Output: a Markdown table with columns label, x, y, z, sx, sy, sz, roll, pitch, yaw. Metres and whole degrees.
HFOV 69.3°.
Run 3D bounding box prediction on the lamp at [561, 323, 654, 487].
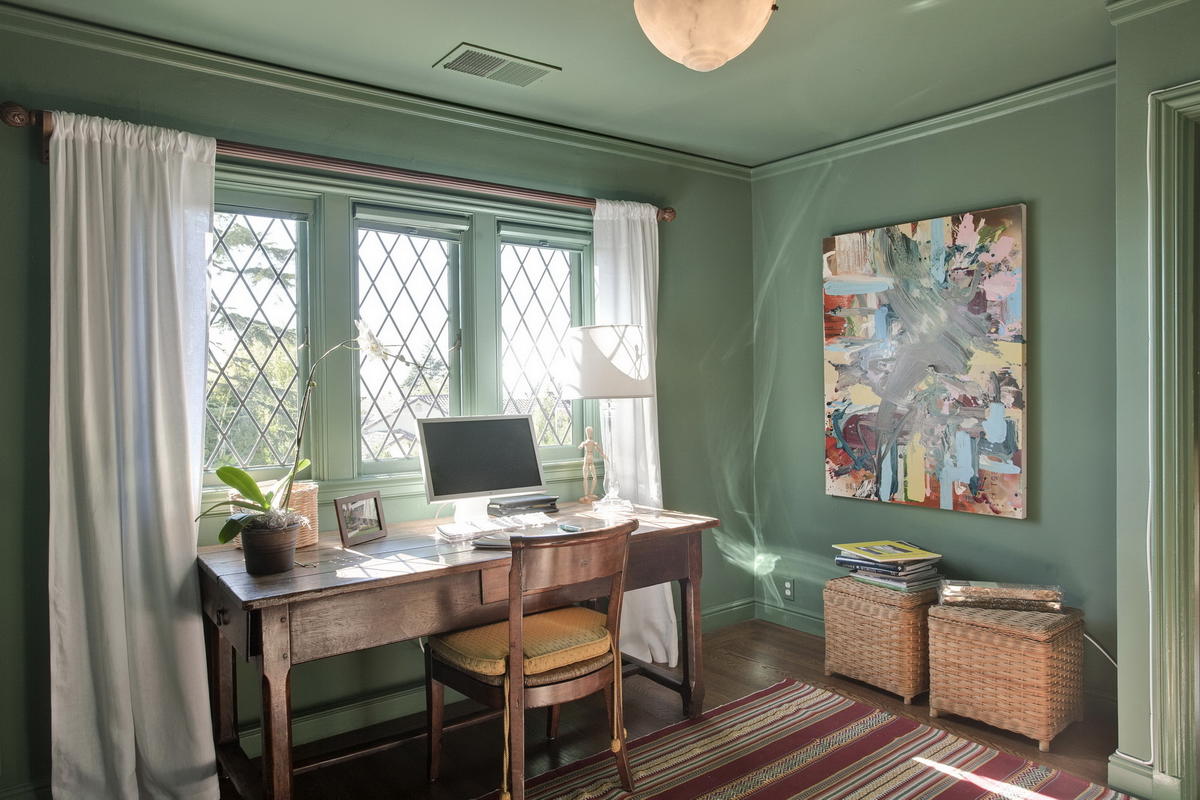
| label | x | y | z | sx | sy | sz | roll | pitch | yaw |
| --- | --- | --- | --- | --- | --- | --- | --- | --- | --- |
| lamp | 0.049 | 0.053 | 4.669 | 0.446 | 0.940 | 0.607 | -2 | 11 | 0 |

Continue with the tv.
| label | x | y | z | sx | sy | sz | roll | pitch | yaw |
| --- | --- | --- | --- | --- | --- | --- | --- | --- | --- |
| tv | -0.634 | 0.344 | 4.365 | 0.718 | 0.502 | 0.306 | -2 | 1 | -44 |

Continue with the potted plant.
| label | x | y | z | sx | sy | sz | roll | pitch | yaw |
| --- | --- | --- | --- | --- | --- | --- | --- | --- | --- |
| potted plant | -1.470 | 0.494 | 3.715 | 0.489 | 0.330 | 0.484 | -6 | -6 | 24 |

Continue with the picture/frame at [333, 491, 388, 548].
| label | x | y | z | sx | sy | sz | roll | pitch | yaw |
| --- | --- | --- | --- | --- | --- | --- | --- | --- | --- |
| picture/frame | -1.106 | 0.556 | 3.981 | 0.017 | 0.229 | 0.241 | -14 | -8 | 35 |
